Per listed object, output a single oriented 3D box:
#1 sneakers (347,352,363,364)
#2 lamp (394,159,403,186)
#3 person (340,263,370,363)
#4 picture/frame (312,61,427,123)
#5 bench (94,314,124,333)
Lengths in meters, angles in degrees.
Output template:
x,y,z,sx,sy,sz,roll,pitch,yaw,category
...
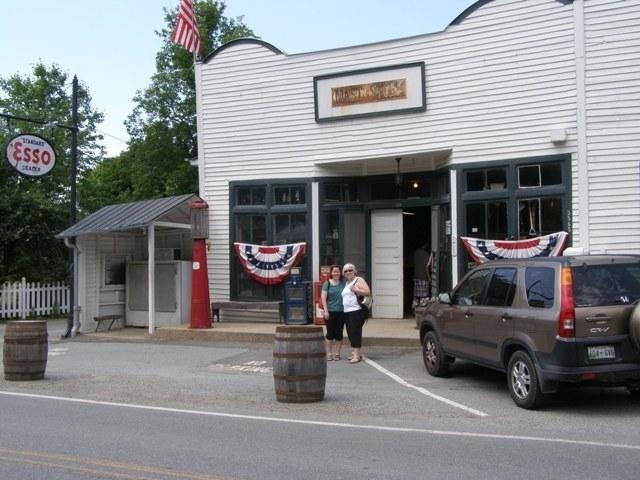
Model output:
x,y,z,sx,sy,sz,roll,pitch,yaw,category
0.764,2.589,15.198,0.138,0.202,0.461,-3,-18,10,sneakers
2.208,-1.878,19.661,0.197,0.763,0.641,-1,3,6,lamp
0.772,1.586,14.917,0.610,2.119,0.399,0,3,20,person
1.343,-4.018,19.197,2.925,1.416,0.110,-5,-16,11,picture/frame
-6.580,2.556,21.704,0.763,0.510,1.248,-2,3,-9,bench
